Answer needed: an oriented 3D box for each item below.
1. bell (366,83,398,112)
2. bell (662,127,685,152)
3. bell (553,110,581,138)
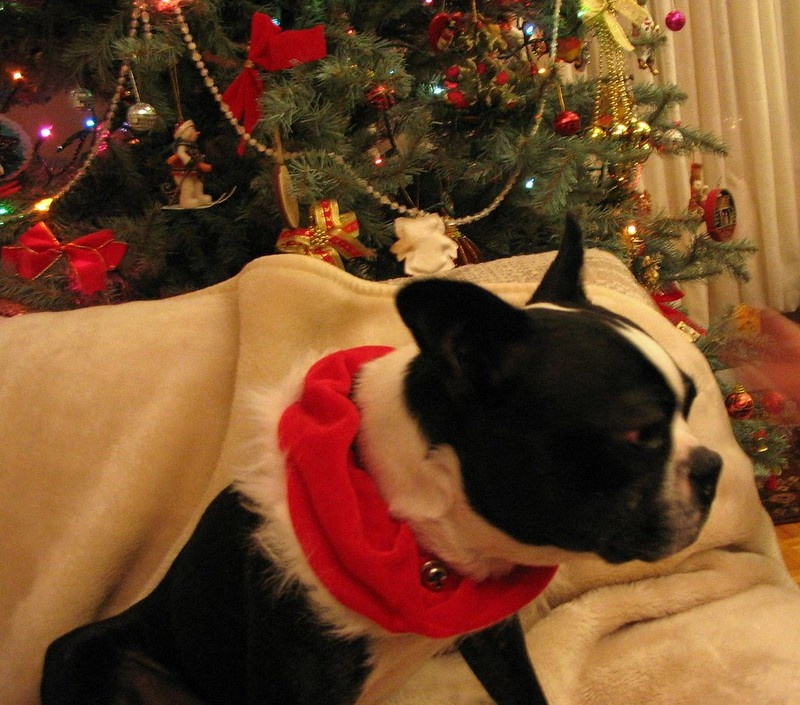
[{"bbox_3d":[-0.040,-0.558,1.781,0.064,0.048,0.047,15,6,-12],"label":"bell"},{"bbox_3d":[0.739,-0.580,2.206,0.072,0.059,0.059,0,69,-3],"label":"bell"},{"bbox_3d":[0.394,-0.542,1.936,0.057,0.068,0.059,0,43,7],"label":"bell"}]
